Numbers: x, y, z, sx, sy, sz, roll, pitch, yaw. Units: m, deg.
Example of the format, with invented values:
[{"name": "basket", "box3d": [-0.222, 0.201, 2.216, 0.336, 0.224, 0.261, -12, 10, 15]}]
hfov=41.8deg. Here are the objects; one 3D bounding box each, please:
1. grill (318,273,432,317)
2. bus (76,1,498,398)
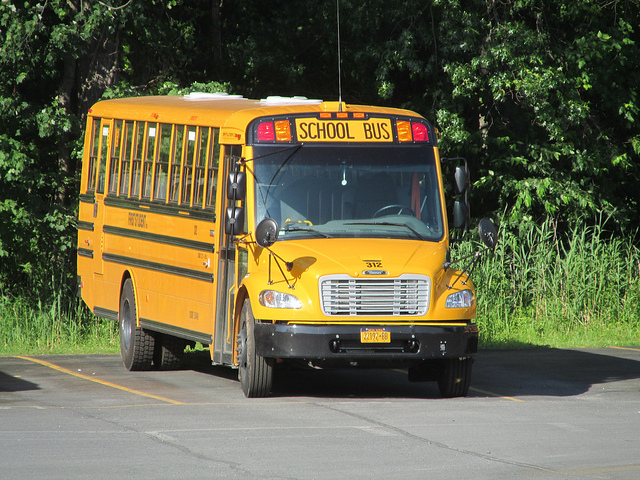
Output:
[{"name": "grill", "box3d": [0.651, 0.696, 10.320, 0.890, 0.704, 0.642, 0, 3, -25]}, {"name": "bus", "box3d": [-1.261, 0.007, 13.509, 3.053, 4.645, 8.875, -3, 10, -38]}]
